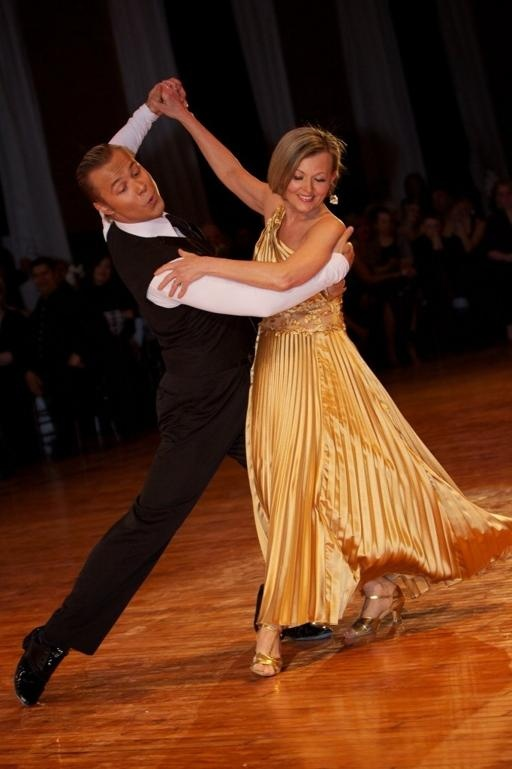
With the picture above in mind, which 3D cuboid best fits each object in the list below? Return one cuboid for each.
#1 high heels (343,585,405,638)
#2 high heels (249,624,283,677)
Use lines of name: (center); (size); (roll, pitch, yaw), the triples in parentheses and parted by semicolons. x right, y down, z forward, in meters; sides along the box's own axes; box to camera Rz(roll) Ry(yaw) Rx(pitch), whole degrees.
high heels: (0.294, 0.561, 1.806); (0.215, 0.098, 0.066); (-3, -6, -34)
high heels: (0.020, 0.615, 1.653); (0.054, 0.054, 0.141); (-1, 1, 4)
